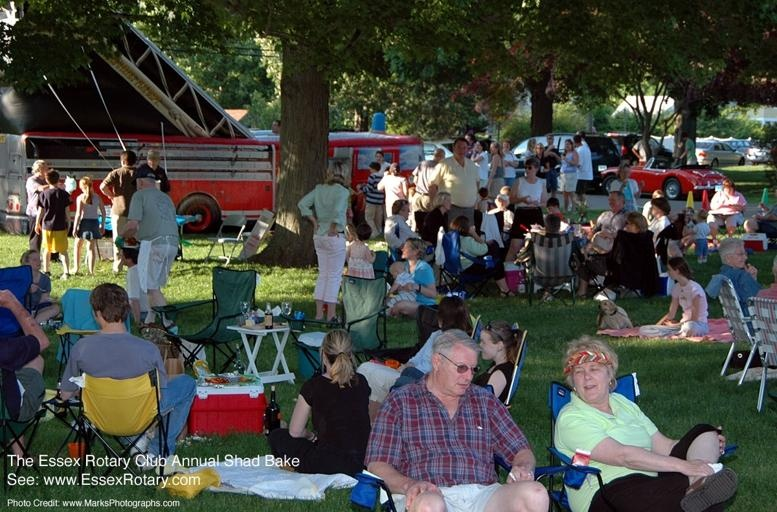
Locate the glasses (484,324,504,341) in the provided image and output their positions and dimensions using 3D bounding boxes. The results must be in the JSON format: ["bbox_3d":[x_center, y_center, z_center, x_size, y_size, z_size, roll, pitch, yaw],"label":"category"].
[{"bbox_3d":[1.464,1.012,16.395,0.215,0.077,0.234,15,-27,38],"label":"glasses"}]

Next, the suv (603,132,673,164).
[{"bbox_3d":[8.181,-3.426,39.298,2.095,1.458,1.269,-4,14,-3],"label":"suv"}]

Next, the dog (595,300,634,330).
[{"bbox_3d":[3.925,0.994,20.805,0.577,0.517,0.341,2,3,8],"label":"dog"}]

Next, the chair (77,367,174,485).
[{"bbox_3d":[-3.525,2.260,16.006,1.141,2.047,1.306,0,9,-4],"label":"chair"}]

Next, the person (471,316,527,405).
[{"bbox_3d":[1.402,1.367,16.476,0.804,1.477,1.007,5,3,13],"label":"person"}]

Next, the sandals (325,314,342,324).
[{"bbox_3d":[-0.848,1.005,19.509,0.113,0.139,0.343,-5,-2,-36],"label":"sandals"}]

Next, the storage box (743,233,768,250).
[{"bbox_3d":[8.119,-0.323,26.656,0.638,0.530,0.672,1,6,20],"label":"storage box"}]

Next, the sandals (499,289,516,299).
[{"bbox_3d":[2.311,0.728,23.150,0.340,0.161,0.120,-2,1,-6],"label":"sandals"}]

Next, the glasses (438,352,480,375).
[{"bbox_3d":[0.883,1.315,15.055,0.506,0.259,0.169,1,3,-5],"label":"glasses"}]

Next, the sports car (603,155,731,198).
[{"bbox_3d":[7.624,-2.206,33.432,1.512,1.060,2.973,-5,12,-42],"label":"sports car"}]

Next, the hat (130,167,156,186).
[{"bbox_3d":[-4.158,-1.389,20.596,0.305,0.343,0.449,0,3,-21],"label":"hat"}]

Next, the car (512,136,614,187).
[{"bbox_3d":[5.929,-3.048,38.607,2.633,1.437,1.592,6,9,7],"label":"car"}]

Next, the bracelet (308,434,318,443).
[{"bbox_3d":[-1.019,2.439,16.334,0.094,0.108,0.073,12,21,42],"label":"bracelet"}]
